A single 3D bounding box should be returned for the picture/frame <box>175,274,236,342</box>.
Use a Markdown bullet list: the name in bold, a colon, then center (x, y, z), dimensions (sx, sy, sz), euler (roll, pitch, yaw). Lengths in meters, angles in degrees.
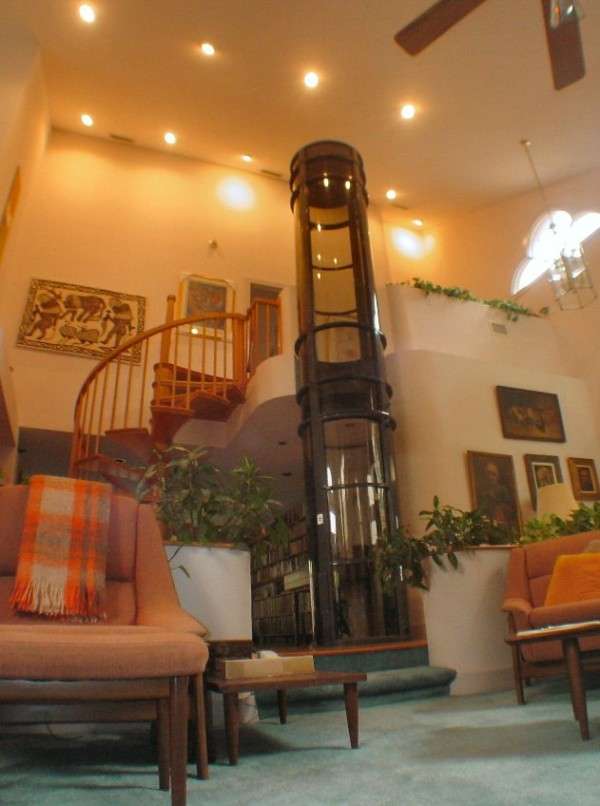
- **picture/frame**: center (-1.276, -1.222, 7.764), dimensions (1.083, 1.182, 0.086), euler (9, -29, -27)
